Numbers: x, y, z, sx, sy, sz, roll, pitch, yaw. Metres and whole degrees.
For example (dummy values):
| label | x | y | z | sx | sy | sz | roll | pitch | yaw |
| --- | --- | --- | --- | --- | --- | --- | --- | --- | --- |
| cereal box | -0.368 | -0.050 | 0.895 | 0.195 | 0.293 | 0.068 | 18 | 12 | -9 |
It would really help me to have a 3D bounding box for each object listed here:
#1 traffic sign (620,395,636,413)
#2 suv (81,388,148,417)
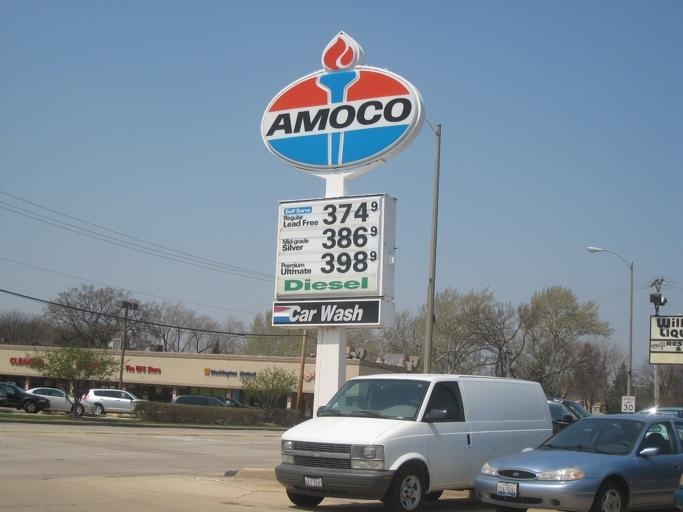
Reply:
| label | x | y | z | sx | sy | sz | roll | pitch | yaw |
| --- | --- | --- | --- | --- | --- | --- | --- | --- | --- |
| traffic sign | 13.721 | 7.023 | 39.157 | 0.508 | 0.832 | 1.630 | 0 | -15 | 14 |
| suv | -14.247 | 9.000 | 50.493 | 3.035 | 1.777 | 2.426 | 13 | -16 | -31 |
